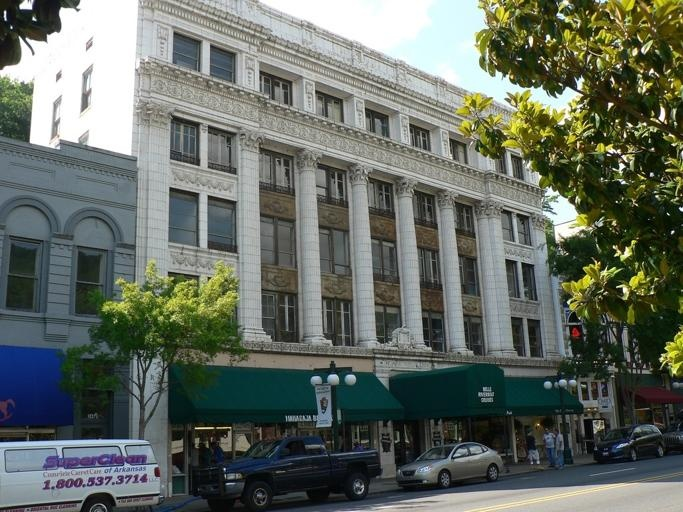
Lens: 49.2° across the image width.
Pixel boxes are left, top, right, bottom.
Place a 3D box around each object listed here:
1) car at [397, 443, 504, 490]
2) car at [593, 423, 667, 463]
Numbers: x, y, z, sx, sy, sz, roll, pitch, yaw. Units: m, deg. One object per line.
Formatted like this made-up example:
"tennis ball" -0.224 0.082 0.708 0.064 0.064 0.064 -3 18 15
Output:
"car" 4.193 8.170 29.043 4.545 1.646 1.216 10 -21 -37
"car" 14.320 9.380 37.302 3.781 1.714 1.293 7 -20 -32
